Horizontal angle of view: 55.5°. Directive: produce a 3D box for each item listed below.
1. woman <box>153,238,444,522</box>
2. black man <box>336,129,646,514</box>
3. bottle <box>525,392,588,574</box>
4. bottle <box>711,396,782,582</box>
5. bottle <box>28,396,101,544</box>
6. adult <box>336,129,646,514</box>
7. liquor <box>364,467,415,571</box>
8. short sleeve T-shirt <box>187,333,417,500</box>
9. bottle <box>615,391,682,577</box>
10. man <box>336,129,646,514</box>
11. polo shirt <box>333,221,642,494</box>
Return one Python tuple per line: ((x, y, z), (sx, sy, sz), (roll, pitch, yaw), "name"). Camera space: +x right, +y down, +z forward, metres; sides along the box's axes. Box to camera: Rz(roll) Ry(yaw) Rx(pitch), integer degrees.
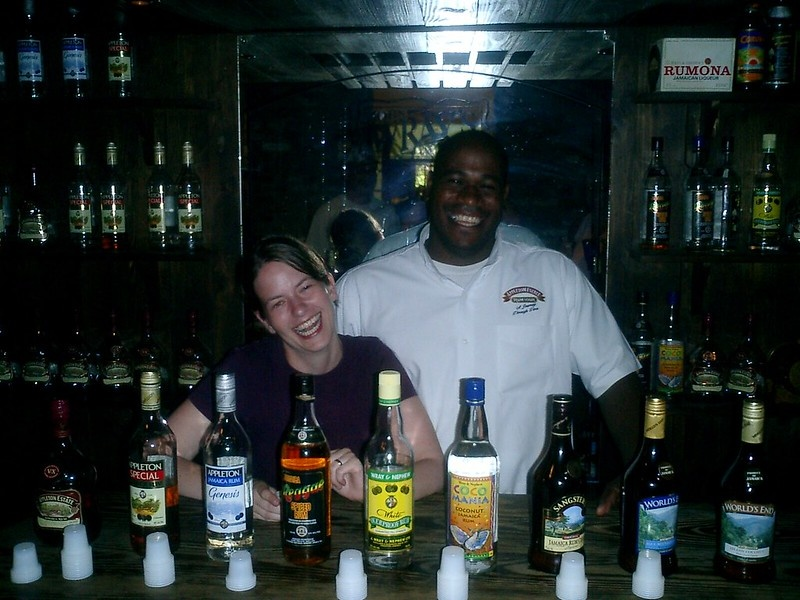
((-0.352, 0.243, 2.251), (1.029, 0.719, 0.548), (2, 5, -12), "woman")
((0.251, 0.064, 2.770), (1.487, 1.207, 0.379), (3, 18, 14), "black man")
((0.371, 0.418, 1.784), (0.130, 0.417, 0.220), (1, 5, 11), "bottle")
((0.809, 0.458, 1.766), (0.127, 0.361, 0.121), (0, 5, 0), "bottle")
((-0.831, 0.448, 1.890), (0.146, 0.298, 0.127), (-2, 5, -25), "bottle")
((0.214, 0.086, 2.764), (1.531, 1.236, 0.378), (2, 9, 6), "adult")
((-0.025, 0.500, 1.753), (0.107, 0.245, 0.067), (0, 5, -3), "liquor")
((-0.262, 0.327, 2.073), (0.518, 0.355, 0.129), (1, -7, -4), "short sleeve T-shirt")
((0.601, 0.419, 1.766), (0.175, 0.425, 0.150), (-1, 5, -6), "bottle")
((0.269, 0.067, 2.762), (1.516, 1.216, 0.379), (2, 18, 11), "man")
((0.291, 0.175, 2.473), (1.301, 0.895, 0.329), (0, -1, 0), "polo shirt")
